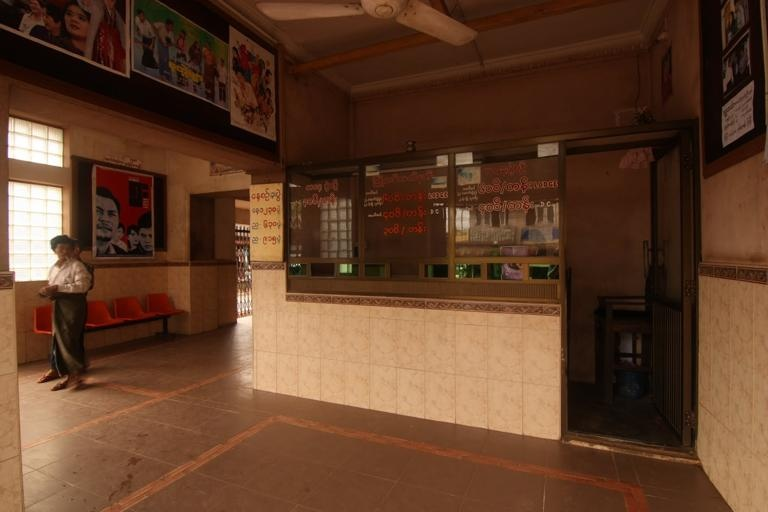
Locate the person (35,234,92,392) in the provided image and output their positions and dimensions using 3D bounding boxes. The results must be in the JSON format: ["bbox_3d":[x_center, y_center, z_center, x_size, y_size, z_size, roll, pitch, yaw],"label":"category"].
[{"bbox_3d":[-4.722,0.821,7.899,0.668,2.154,0.997,-8,16,-26],"label":"person"}]

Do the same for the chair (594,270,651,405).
[{"bbox_3d":[3.437,1.268,7.339,0.800,1.295,0.822,-2,-14,15],"label":"chair"}]
